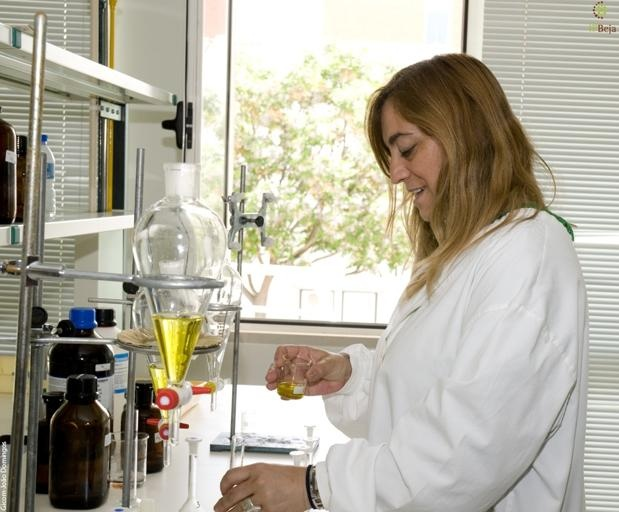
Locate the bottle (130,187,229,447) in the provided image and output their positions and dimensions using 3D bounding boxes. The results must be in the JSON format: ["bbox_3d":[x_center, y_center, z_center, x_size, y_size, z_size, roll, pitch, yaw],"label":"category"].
[{"bbox_3d":[-0.222,0.115,1.285,0.162,0.450,0.156,-1,-2,0],"label":"bottle"}]

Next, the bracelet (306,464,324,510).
[{"bbox_3d":[0.003,0.498,1.578,0.024,0.079,0.065,-8,16,3],"label":"bracelet"}]
